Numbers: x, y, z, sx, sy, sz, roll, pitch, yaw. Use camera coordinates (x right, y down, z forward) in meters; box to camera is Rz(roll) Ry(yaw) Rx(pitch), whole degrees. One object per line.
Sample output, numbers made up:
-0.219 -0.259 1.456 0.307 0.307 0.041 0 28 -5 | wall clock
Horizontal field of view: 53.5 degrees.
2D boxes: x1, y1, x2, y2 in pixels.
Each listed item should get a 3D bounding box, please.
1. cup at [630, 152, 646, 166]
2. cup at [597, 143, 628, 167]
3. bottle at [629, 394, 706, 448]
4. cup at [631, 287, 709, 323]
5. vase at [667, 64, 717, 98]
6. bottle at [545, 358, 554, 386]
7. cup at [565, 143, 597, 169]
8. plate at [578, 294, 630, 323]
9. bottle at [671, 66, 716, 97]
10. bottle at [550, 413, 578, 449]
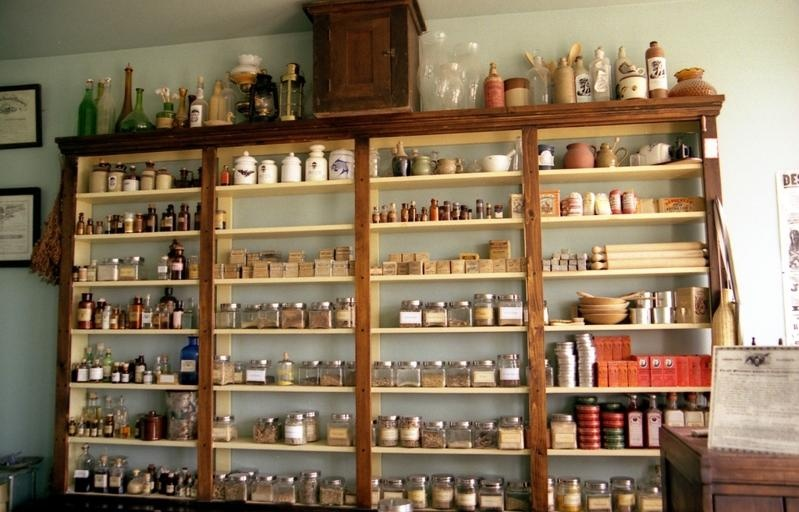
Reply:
1.978 -0.798 6.545 0.112 0.177 0.106 -3 -1 0 | cup
1.762 -0.837 6.580 0.188 0.252 0.360 -3 -4 32 | cup
2.042 1.251 6.005 0.497 0.401 0.164 0 -1 6 | bottle
2.175 0.388 6.353 0.544 0.226 0.292 -1 -4 8 | cup
2.380 -1.386 6.434 0.330 0.194 0.321 -1 0 23 | vase
1.237 0.946 6.496 0.054 0.219 0.325 -2 -3 15 | bottle
1.492 -0.824 6.524 0.267 0.204 0.193 2 -12 12 | cup
1.675 0.424 6.489 0.402 0.255 0.227 -2 -3 9 | plate
2.402 -1.395 6.450 0.325 0.190 0.308 -1 1 0 | bottle
1.311 1.421 6.426 0.296 0.268 0.301 -5 -13 25 | bottle
